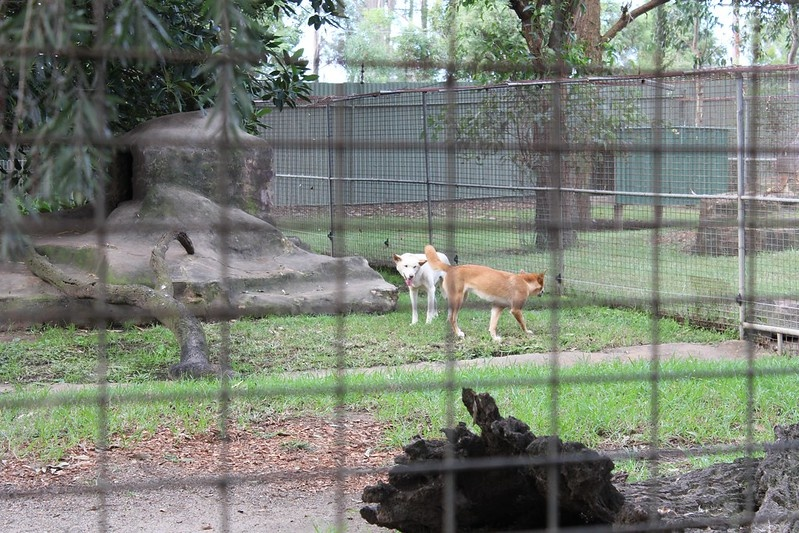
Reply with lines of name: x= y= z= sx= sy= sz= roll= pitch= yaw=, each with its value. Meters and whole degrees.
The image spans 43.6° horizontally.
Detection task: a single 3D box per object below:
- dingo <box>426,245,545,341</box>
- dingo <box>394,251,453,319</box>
dingo: x=0.928 y=0.310 z=10.734 sx=1.434 sy=0.980 sz=0.350 roll=4 pitch=1 yaw=-12
dingo: x=0.318 y=0.218 z=11.649 sx=0.374 sy=0.823 sz=1.204 roll=-2 pitch=2 yaw=23
